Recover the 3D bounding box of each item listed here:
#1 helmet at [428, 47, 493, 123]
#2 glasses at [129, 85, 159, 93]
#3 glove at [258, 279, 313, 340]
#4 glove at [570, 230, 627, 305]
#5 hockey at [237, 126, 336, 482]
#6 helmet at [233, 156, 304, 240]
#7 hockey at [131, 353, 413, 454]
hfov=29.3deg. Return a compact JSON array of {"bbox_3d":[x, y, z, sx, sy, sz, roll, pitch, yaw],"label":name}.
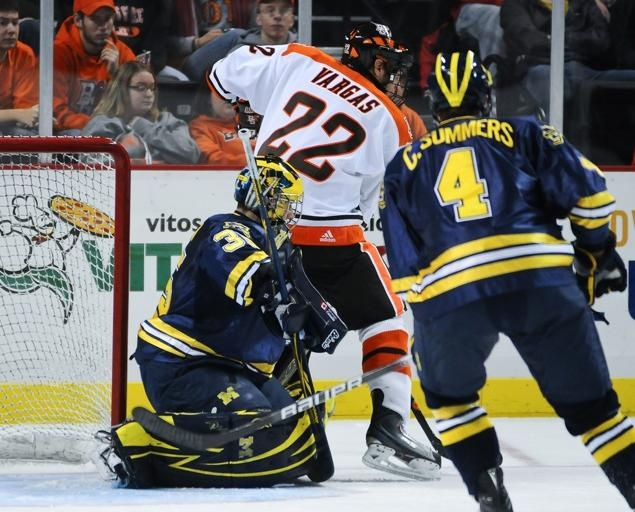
[{"bbox_3d":[0.638,-0.750,5.318,0.277,0.274,0.318,1,26,16],"label":"helmet"},{"bbox_3d":[-1.021,-0.981,7.130,0.151,0.044,0.014,2,13,-6],"label":"glasses"},{"bbox_3d":[-0.154,0.236,5.554,0.265,0.221,0.134,42,35,23],"label":"glove"},{"bbox_3d":[1.233,0.050,5.223,0.284,0.283,0.134,1,16,40],"label":"glove"},{"bbox_3d":[-0.151,0.240,5.660,0.207,1.714,0.253,-13,-5,-37],"label":"hockey"},{"bbox_3d":[-0.163,-0.289,5.740,0.416,0.359,0.337,7,14,-8],"label":"helmet"},{"bbox_3d":[-0.244,0.702,5.723,1.186,0.107,0.302,-17,18,-19],"label":"hockey"}]
